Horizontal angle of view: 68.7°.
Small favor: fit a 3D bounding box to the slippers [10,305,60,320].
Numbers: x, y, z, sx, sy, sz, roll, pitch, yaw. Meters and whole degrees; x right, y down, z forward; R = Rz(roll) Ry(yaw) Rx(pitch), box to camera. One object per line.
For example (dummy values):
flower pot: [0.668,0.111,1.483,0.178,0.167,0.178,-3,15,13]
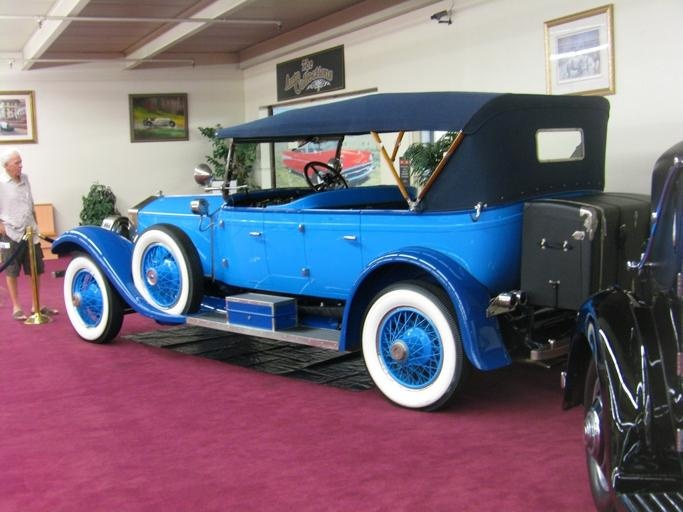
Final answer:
slippers: [-3.472,0.646,5.633,0.508,0.146,0.181,-3,7,-26]
